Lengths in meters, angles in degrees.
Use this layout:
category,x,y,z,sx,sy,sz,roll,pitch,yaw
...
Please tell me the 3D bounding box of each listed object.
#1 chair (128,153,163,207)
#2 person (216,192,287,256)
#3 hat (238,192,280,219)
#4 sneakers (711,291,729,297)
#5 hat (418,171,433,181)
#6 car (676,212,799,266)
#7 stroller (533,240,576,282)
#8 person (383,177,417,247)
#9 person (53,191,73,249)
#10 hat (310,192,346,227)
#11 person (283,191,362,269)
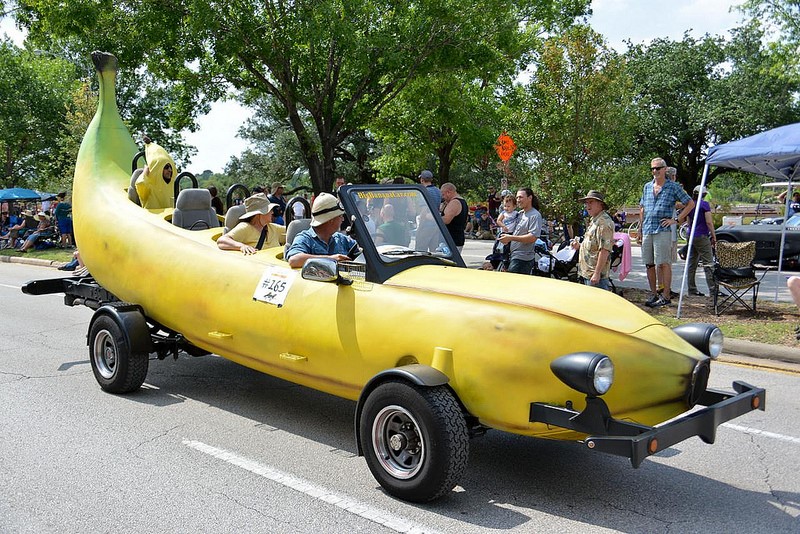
category,x,y,z,sx,sy,sz,roll,pitch,yaw
chair,-3.537,-1.119,7.841,0.463,0.469,0.342,8,15,28
person,-1.719,-0.547,7.132,0.815,0.594,1.161,-12,0,2
hat,-1.720,-0.717,6.896,0.344,0.188,0.342,-8,6,12
sneakers,6.342,0.534,11.261,0.366,0.144,0.111,-4,6,-18
hat,0.473,-1.611,9.908,0.191,0.136,0.259,-14,27,-15
car,9.788,-0.766,17.239,3.691,1.714,2.313,0,-4,20
stroller,3.232,-0.167,11.482,0.911,0.851,0.571,-13,15,-31
person,-0.014,-0.633,5.768,0.288,0.872,0.268,9,4,36
person,-13.042,-1.876,22.120,0.607,2.083,0.648,0,18,-29
hat,-0.745,-0.647,5.899,0.401,0.248,0.320,-13,19,-40
person,-0.813,-0.427,6.032,0.803,0.678,1.253,11,12,30
